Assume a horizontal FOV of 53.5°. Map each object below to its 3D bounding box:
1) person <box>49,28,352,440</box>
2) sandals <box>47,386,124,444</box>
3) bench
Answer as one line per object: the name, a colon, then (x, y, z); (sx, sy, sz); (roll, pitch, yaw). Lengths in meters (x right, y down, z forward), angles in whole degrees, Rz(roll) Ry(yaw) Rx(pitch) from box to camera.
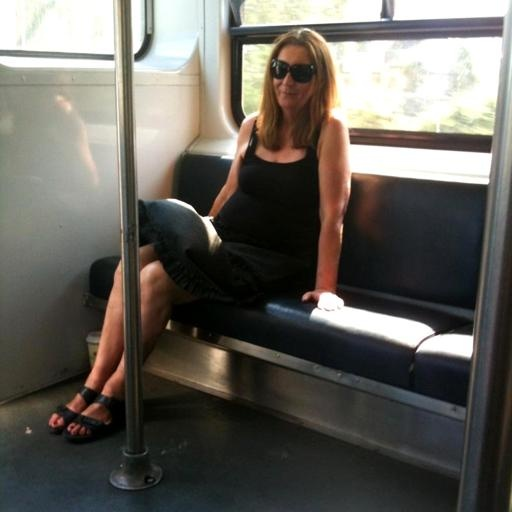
person: (-0.203, -0.126, 2.089); (1.119, 1.656, 0.967); (2, 11, -29)
sandals: (-0.620, 0.546, 1.832); (0.256, 0.108, 0.198); (-7, 17, 7)
bench: (0.177, 0.127, 2.183); (1.986, 0.941, 0.718); (11, 20, 38)
